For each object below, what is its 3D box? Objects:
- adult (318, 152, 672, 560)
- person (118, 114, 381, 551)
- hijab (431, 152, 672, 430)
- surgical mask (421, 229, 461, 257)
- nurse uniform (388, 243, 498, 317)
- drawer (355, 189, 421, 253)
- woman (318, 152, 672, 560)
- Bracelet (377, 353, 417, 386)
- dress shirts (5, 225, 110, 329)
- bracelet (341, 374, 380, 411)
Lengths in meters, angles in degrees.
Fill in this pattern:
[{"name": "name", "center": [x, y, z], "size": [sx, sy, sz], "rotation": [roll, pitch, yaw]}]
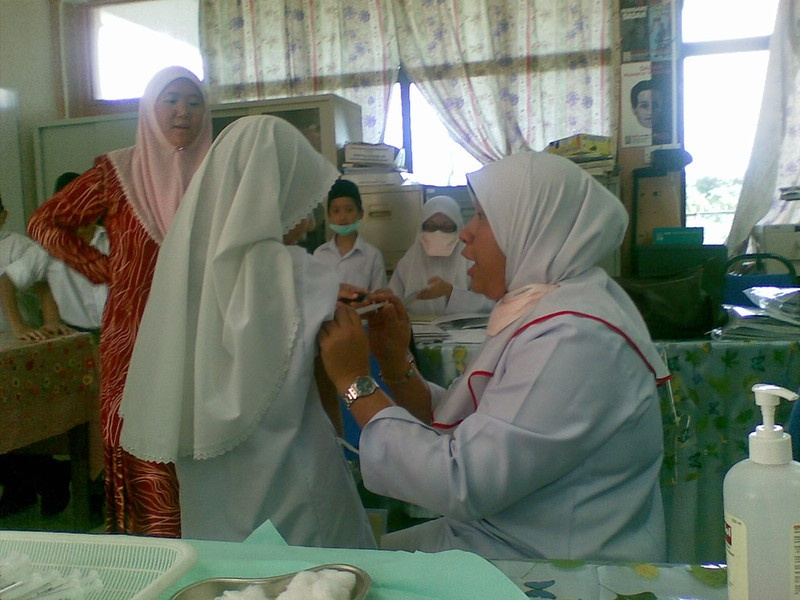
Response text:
[{"name": "adult", "center": [0.287, 0.163, 2.588], "size": [1.003, 1.588, 0.948], "rotation": [4, 0, 14]}, {"name": "person", "center": [-0.410, 0.212, 2.264], "size": [0.748, 1.401, 0.653], "rotation": [-13, 22, -35]}, {"name": "hijab", "center": [0.367, -0.058, 2.297], "size": [0.670, 0.824, 0.672], "rotation": [1, 6, 9]}, {"name": "surgical mask", "center": [0.210, -0.309, 4.267], "size": [0.163, 0.095, 0.171], "rotation": [-1, 0, 5]}, {"name": "nurse uniform", "center": [0.194, -0.196, 4.158], "size": [0.617, 0.543, 0.366], "rotation": [-1, -9, 10]}, {"name": "drawer", "center": [-0.123, -0.549, 4.981], "size": [0.461, 0.448, 0.348], "rotation": [-1, 28, -3]}, {"name": "woman", "center": [0.271, 0.122, 2.591], "size": [1.003, 1.588, 0.948], "rotation": [4, 0, 14]}, {"name": "Bracelet", "center": [0.006, 0.207, 2.405], "size": [0.084, 0.101, 0.043], "rotation": [-6, -4, 9]}, {"name": "dress shirts", "center": [-1.415, -0.087, 3.220], "size": [0.115, 0.321, 0.397], "rotation": [-5, 17, 44]}, {"name": "bracelet", "center": [-0.095, 0.218, 1.994], "size": [0.098, 0.094, 0.059], "rotation": [15, 35, -47]}]
